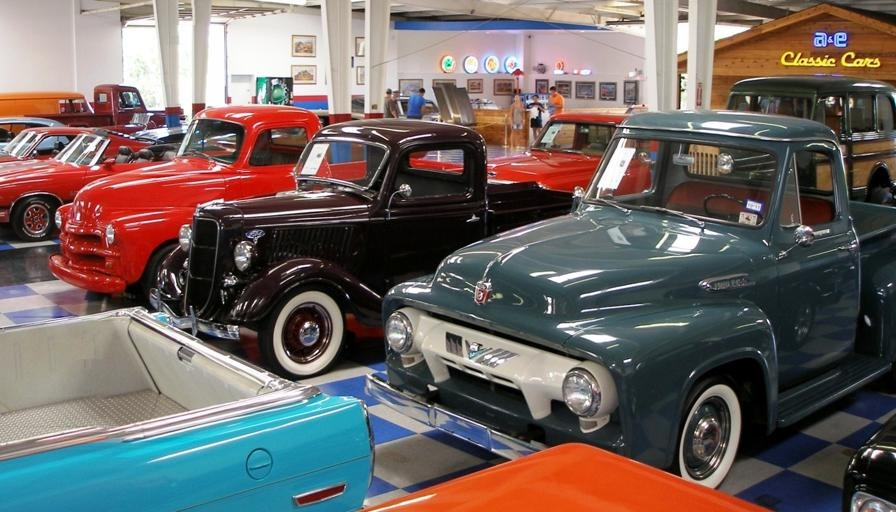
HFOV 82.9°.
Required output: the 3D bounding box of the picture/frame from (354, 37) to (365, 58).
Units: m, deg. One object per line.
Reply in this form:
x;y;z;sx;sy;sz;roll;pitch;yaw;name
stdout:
-5.220;-12.292;29.862;0.487;1.180;0.852;-2;15;-4;picture/frame
